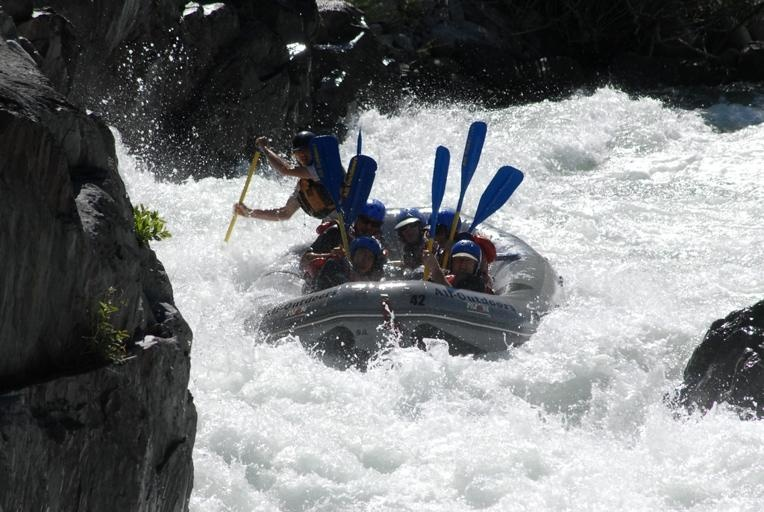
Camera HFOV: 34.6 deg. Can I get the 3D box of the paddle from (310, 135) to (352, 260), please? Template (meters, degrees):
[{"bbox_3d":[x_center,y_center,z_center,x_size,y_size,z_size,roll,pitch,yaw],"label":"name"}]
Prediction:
[{"bbox_3d":[-0.514,-0.680,12.889,0.318,1.449,0.095,-12,18,6],"label":"paddle"}]

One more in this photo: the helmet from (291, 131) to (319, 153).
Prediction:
[{"bbox_3d":[-0.804,-1.235,13.073,0.247,0.183,0.182,-32,25,-24],"label":"helmet"}]

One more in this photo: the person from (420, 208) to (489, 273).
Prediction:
[{"bbox_3d":[0.799,-0.320,12.911,0.338,0.978,0.767,-5,69,-17],"label":"person"}]

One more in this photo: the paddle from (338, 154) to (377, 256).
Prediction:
[{"bbox_3d":[-0.348,-0.683,13.172,0.402,1.465,0.145,21,65,1],"label":"paddle"}]

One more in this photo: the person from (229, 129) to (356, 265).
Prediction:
[{"bbox_3d":[-0.913,-0.575,13.336,1.663,0.489,1.503,-4,57,17],"label":"person"}]
